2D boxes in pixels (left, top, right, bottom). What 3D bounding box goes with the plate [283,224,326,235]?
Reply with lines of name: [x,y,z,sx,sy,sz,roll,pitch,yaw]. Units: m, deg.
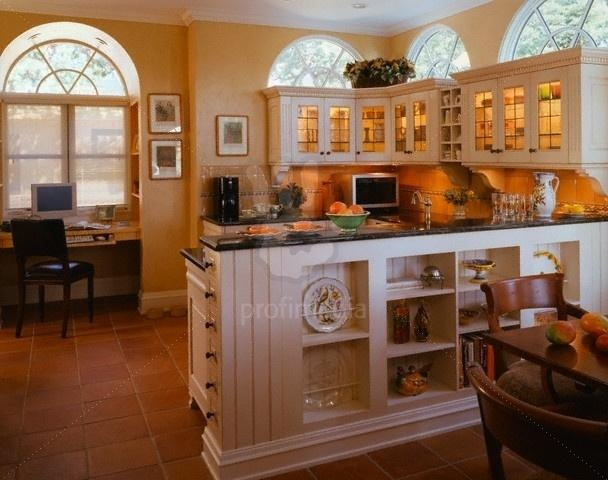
plate: [-0.005,-0.074,3.118,0.224,0.059,0.128,-2,11,-13]

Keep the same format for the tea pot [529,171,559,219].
tea pot: [1.856,-0.345,3.846,0.179,0.327,0.307,5,10,25]

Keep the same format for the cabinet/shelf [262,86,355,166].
cabinet/shelf: [0.074,-1.272,5.535,0.834,0.687,0.316,-2,3,-21]

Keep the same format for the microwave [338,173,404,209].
microwave: [0.772,-0.566,5.815,0.662,0.401,0.411,2,10,6]

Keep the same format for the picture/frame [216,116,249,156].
picture/frame: [-0.818,-1.166,5.546,0.418,0.526,0.058,-2,2,-25]

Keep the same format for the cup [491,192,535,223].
cup: [1.610,-0.253,3.796,0.337,0.245,0.223,-2,4,-14]

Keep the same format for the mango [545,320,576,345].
mango: [1.178,0.421,2.286,0.115,0.098,0.094,-3,-5,26]

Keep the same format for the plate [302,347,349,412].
plate: [0.120,0.884,3.171,0.404,0.491,0.046,0,2,-25]

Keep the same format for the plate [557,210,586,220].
plate: [2.049,-0.194,3.809,0.210,0.047,0.431,6,12,27]

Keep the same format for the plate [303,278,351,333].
plate: [0.145,0.405,3.116,0.363,0.348,0.068,-4,9,-24]

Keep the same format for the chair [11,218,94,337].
chair: [-2.514,0.338,4.970,0.625,1.150,0.517,0,9,-4]

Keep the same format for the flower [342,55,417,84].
flower: [0.826,-1.886,5.581,0.808,0.264,0.177,3,9,14]

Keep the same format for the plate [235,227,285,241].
plate: [-0.262,-0.053,3.010,0.276,0.076,0.220,0,11,-5]

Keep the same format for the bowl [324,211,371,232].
bowl: [0.275,-0.122,3.204,0.240,0.130,0.240,1,10,0]

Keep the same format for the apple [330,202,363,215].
apple: [0.271,-0.191,3.172,0.189,0.095,0.119,3,2,-8]

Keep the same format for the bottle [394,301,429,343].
bottle: [0.717,0.553,3.343,0.261,0.375,0.129,0,0,-17]

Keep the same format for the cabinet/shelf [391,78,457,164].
cabinet/shelf: [1.256,-1.219,5.110,0.373,0.901,0.927,-1,4,-21]

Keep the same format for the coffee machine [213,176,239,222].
coffee machine: [-0.825,-0.440,5.291,0.304,0.429,0.669,-1,10,-9]

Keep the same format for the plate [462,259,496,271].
plate: [1.230,0.170,3.502,0.114,0.038,0.118,-3,11,-11]

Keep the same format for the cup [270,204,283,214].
cup: [-0.313,-0.348,5.609,0.097,0.097,0.312,2,11,6]
